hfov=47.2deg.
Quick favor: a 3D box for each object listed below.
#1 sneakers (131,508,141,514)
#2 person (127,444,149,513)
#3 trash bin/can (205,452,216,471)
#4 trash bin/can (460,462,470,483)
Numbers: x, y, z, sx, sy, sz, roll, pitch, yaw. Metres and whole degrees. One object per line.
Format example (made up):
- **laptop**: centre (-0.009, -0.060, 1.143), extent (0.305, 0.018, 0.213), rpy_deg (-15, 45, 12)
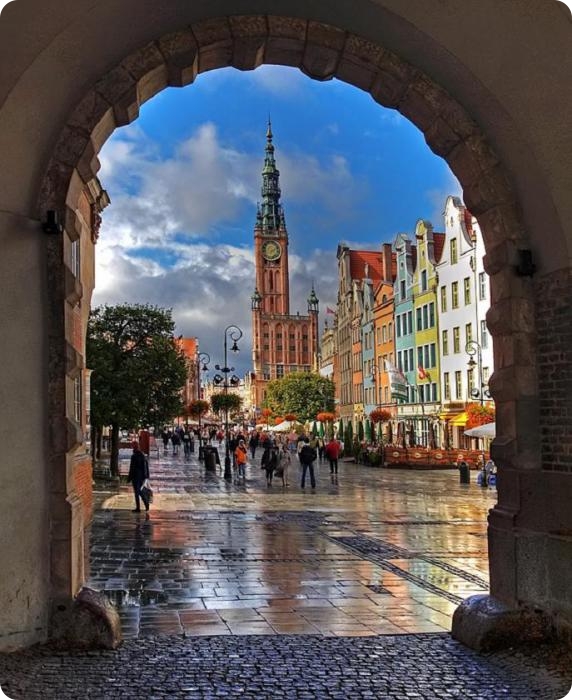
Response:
- **sneakers**: centre (-3.788, 4.084, 16.576), extent (0.216, 0.084, 0.152), rpy_deg (2, -5, -8)
- **person**: centre (-3.664, 3.235, 16.463), extent (0.482, 1.704, 0.764), rpy_deg (2, -7, -12)
- **trash bin/can**: centre (-3.908, 5.882, 34.134), extent (0.540, 0.969, 1.289), rpy_deg (1, -7, -8)
- **trash bin/can**: centre (7.398, 5.155, 27.049), extent (0.350, 0.731, 0.485), rpy_deg (-1, -7, 11)
